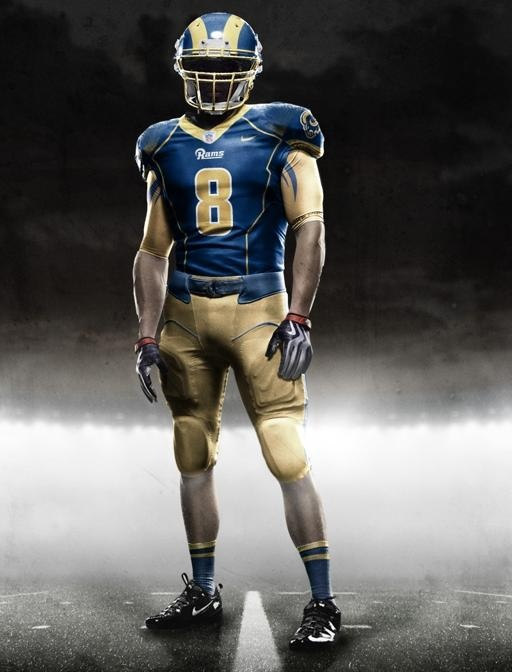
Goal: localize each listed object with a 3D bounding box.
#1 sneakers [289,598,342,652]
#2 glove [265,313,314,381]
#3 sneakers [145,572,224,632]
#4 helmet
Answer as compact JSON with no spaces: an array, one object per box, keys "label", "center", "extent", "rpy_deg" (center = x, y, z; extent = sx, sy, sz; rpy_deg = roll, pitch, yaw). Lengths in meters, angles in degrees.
[{"label":"sneakers","center":[0.159,0.756,2.184],"extent":[0.101,0.103,0.180],"rpy_deg":[-2,-1,16]},{"label":"glove","center":[0.092,0.032,2.300],"extent":[0.124,0.189,0.052],"rpy_deg":[-1,-1,-3]},{"label":"sneakers","center":[-0.207,0.776,2.428],"extent":[0.260,0.119,0.088],"rpy_deg":[1,-1,-45]},{"label":"helmet","center":[-0.118,-0.851,2.470],"extent":[0.241,0.156,0.234],"rpy_deg":[-4,17,-18]}]
